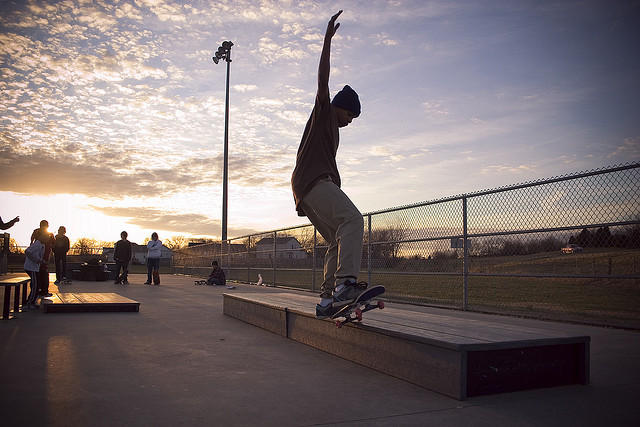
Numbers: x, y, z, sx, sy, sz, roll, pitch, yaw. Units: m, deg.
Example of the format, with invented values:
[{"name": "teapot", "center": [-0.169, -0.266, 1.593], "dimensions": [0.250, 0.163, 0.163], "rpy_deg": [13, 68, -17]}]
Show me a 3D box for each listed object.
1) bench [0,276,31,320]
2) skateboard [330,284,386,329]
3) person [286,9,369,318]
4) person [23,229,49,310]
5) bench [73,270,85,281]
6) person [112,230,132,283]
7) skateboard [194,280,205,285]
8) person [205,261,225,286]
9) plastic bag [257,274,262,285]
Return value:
[{"name": "bench", "center": [-6.087, 1.710, 9.221], "dimensions": [0.342, 0.412, 1.205], "rpy_deg": [0, 1, -18]}, {"name": "skateboard", "center": [0.516, 1.024, 5.579], "dimensions": [0.617, 0.188, 0.343], "rpy_deg": [-10, 30, -38]}, {"name": "person", "center": [0.152, -0.636, 5.767], "dimensions": [1.028, 3.896, 0.553], "rpy_deg": [1, 1, 19]}, {"name": "person", "center": [-5.896, 1.169, 9.545], "dimensions": [0.443, 1.680, 0.719], "rpy_deg": [0, 1, -28]}, {"name": "bench", "center": [-11.369, 2.758, 21.768], "dimensions": [0.482, 0.762, 0.849], "rpy_deg": [3, -5, -26]}, {"name": "person", "center": [-8.030, 1.676, 18.719], "dimensions": [0.580, 1.914, 0.807], "rpy_deg": [0, 1, -23]}, {"name": "skateboard", "center": [-4.996, 2.868, 19.220], "dimensions": [0.417, 0.116, 0.290], "rpy_deg": [-1, -4, 10]}, {"name": "person", "center": [-4.138, 2.400, 18.513], "dimensions": [0.744, 0.913, 0.682], "rpy_deg": [0, 1, -43]}, {"name": "plastic bag", "center": [-2.300, 2.542, 17.654], "dimensions": [0.165, 0.359, 0.424], "rpy_deg": [1, 0, -8]}]
